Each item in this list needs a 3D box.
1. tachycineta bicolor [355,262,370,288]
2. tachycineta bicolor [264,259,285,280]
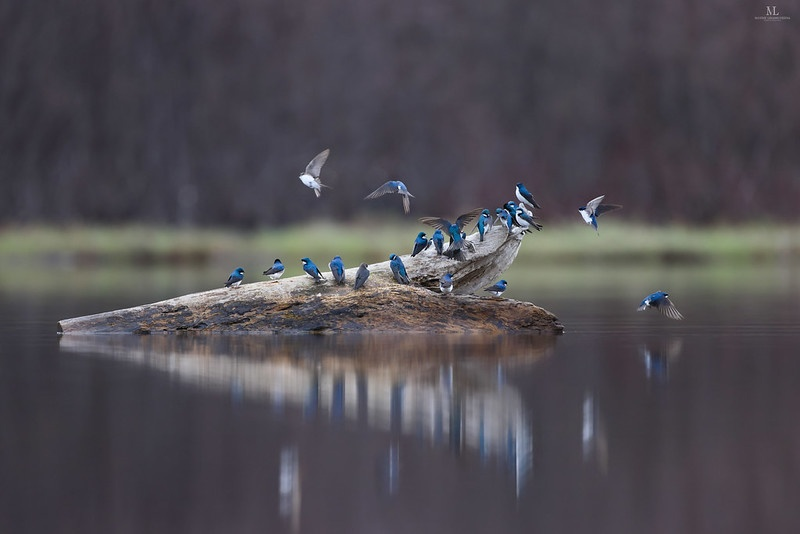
[{"bbox_3d":[-1.052,0.276,40.784,0.399,0.709,0.917,1,2,-2],"label":"tachycineta bicolor"},{"bbox_3d":[-3.593,0.090,41.297,0.471,0.591,0.828,2,2,1],"label":"tachycineta bicolor"}]
